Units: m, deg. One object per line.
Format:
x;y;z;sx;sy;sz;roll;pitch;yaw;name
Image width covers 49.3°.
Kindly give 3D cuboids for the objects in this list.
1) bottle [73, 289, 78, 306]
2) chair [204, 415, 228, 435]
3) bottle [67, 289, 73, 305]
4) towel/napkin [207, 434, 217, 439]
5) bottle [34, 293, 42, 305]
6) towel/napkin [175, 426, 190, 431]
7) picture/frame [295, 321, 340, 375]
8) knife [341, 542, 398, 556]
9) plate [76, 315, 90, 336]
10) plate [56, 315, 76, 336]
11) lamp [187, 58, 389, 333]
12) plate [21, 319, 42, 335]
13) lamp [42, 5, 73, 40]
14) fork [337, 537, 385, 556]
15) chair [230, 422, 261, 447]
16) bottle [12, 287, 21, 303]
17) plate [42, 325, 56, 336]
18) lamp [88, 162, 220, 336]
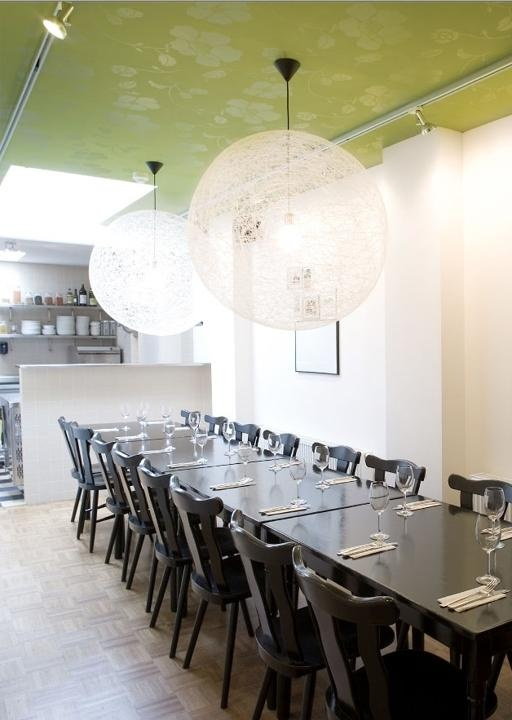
-2.709;-0.948;8.377;0.065;0.254;0.300;-2;1;-18;bottle
-0.355;0.572;4.868;0.181;0.238;0.205;1;-14;-2;chair
-2.768;-0.942;8.324;0.121;0.257;0.336;-2;1;-19;bottle
-0.347;0.603;4.386;0.093;0.028;0.099;4;2;-8;towel/napkin
-3.066;-0.851;7.914;0.127;0.138;0.096;-2;1;-39;bottle
-0.644;0.604;4.904;0.084;0.020;0.077;1;-2;-44;towel/napkin
0.531;-0.093;4.655;0.019;0.479;0.471;2;-2;-30;picture/frame
0.364;0.632;1.855;0.191;0.021;0.062;0;2;-32;knife
-2.549;-0.499;8.194;0.251;0.289;0.257;5;5;36;plate
-2.743;-0.484;8.079;0.276;0.303;0.277;0;-6;-4;plate
0.215;-0.587;2.387;0.743;1.075;0.748;-1;4;26;lamp
-3.155;-0.454;7.856;0.213;0.183;0.219;0;-1;40;plate
-0.819;-1.401;2.304;0.071;0.089;0.070;13;2;1;lamp
0.348;0.628;1.871;0.192;0.018;0.051;-1;-1;-36;fork
-0.064;0.570;4.348;0.209;0.269;0.193;1;-2;40;chair
-3.365;-0.903;7.853;0.104;0.250;0.290;-2;1;-23;bottle
-2.956;-0.418;7.936;0.174;0.124;0.156;-1;-5;-11;plate
-0.607;-0.578;3.330;0.773;1.078;0.786;4;5;34;lamp
